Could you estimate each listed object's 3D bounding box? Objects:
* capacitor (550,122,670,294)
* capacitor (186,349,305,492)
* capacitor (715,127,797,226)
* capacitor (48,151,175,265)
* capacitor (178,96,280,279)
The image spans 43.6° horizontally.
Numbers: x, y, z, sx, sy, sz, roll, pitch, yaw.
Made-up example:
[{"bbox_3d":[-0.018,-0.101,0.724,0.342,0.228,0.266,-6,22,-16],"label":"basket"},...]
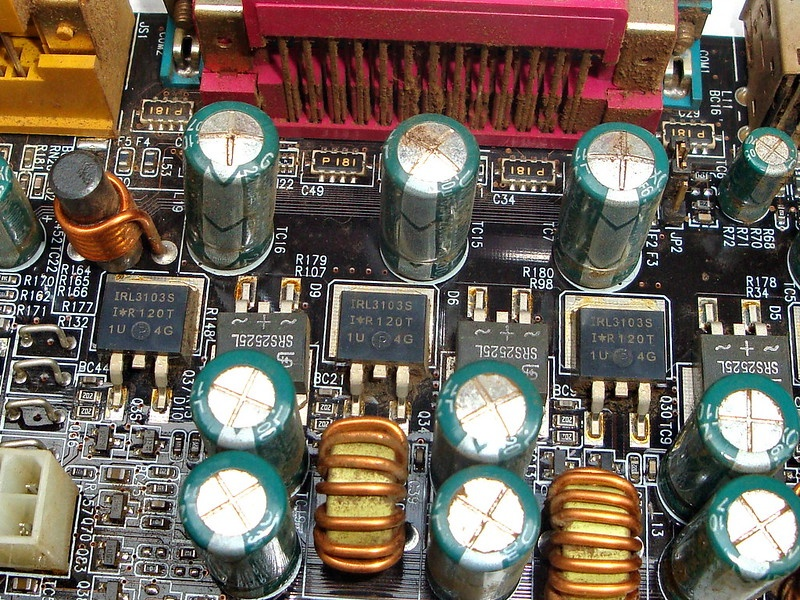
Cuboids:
[{"bbox_3d":[2.579,-1.026,12.170,1.041,1.938,1.183,21,69,12],"label":"capacitor"},{"bbox_3d":[-1.690,1.246,10.979,0.951,1.326,1.347,-6,48,-10],"label":"capacitor"},{"bbox_3d":[4.650,-1.557,12.978,0.812,1.439,0.967,-3,64,-3],"label":"capacitor"},{"bbox_3d":[-3.576,-1.052,12.542,1.389,1.534,1.065,5,61,2],"label":"capacitor"},{"bbox_3d":[-2.083,-1.269,12.151,1.350,2.445,1.598,4,60,-10],"label":"capacitor"}]
